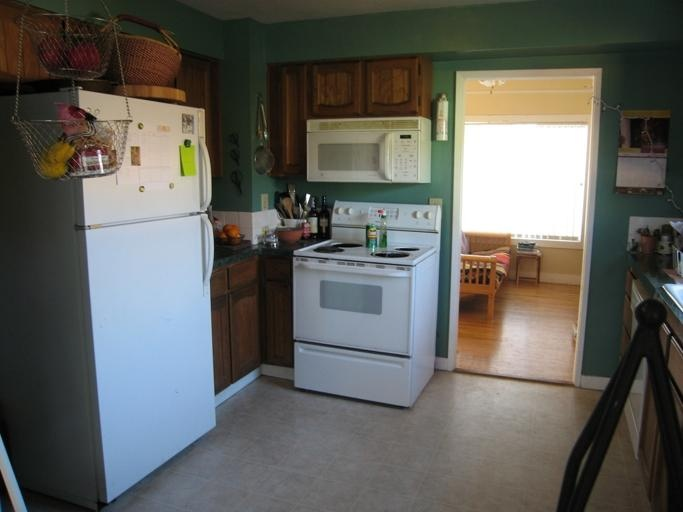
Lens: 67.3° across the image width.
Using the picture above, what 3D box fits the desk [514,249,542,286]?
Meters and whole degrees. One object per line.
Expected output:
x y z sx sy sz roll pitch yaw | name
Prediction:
2.581 0.156 7.129 0.337 0.480 0.346 8 20 27 | desk

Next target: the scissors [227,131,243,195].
-0.864 -0.755 4.188 0.165 0.485 0.065 12 18 41 | scissors

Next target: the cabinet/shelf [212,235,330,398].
-0.744 0.590 4.279 0.584 1.073 1.096 8 -24 -34 | cabinet/shelf

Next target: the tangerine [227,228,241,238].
-0.849 -0.180 4.035 0.067 0.029 0.070 6 17 20 | tangerine

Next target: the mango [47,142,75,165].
-1.125 -0.415 2.073 0.082 0.023 0.085 -1 54 -4 | mango

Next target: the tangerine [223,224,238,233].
-0.886 -0.222 4.055 0.076 0.032 0.075 -7 16 -44 | tangerine

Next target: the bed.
1.733 0.200 6.310 0.729 0.566 1.322 2 11 22 | bed

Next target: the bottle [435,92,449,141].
0.792 -1.094 4.086 0.114 0.366 0.100 0 13 1 | bottle

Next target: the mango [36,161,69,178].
-1.162 -0.339 2.071 0.072 0.025 0.074 14 33 24 | mango

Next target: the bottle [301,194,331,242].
-0.214 -0.339 4.489 0.233 0.358 0.179 -1 14 -4 | bottle

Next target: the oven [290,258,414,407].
0.128 0.460 3.988 0.927 1.074 0.774 6 16 21 | oven

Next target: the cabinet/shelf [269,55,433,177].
0.119 -1.121 4.051 0.945 0.712 0.318 2 3 19 | cabinet/shelf

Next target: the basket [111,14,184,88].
-1.076 -1.105 2.916 0.380 0.368 0.506 5 15 11 | basket

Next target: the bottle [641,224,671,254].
2.250 -0.111 3.678 0.229 0.170 0.145 -2 8 3 | bottle
